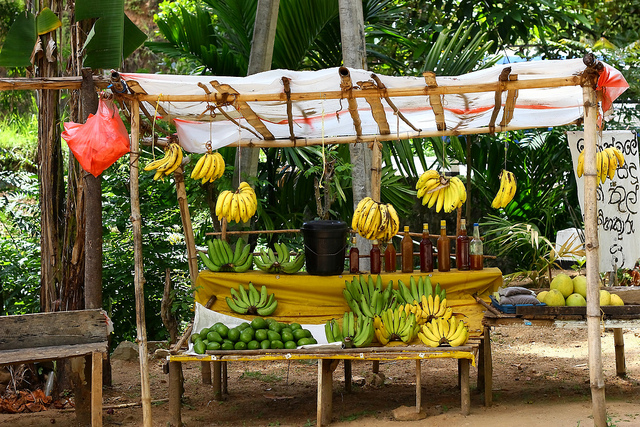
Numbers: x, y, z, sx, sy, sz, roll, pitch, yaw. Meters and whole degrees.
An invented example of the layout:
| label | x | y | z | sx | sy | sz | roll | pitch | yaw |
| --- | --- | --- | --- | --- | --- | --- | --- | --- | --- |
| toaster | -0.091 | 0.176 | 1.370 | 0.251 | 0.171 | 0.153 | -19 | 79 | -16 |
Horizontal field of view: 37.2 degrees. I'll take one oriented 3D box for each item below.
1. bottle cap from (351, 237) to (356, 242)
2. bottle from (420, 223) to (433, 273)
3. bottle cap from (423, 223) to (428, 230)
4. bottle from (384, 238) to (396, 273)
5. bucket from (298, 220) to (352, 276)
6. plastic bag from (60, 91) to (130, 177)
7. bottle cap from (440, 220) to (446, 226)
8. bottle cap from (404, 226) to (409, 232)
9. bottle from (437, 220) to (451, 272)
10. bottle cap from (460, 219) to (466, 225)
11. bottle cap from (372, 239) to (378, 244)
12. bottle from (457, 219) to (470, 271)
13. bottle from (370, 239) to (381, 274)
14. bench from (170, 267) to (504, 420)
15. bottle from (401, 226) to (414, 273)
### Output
| label | x | y | z | sx | sy | sz | roll | pitch | yaw |
| --- | --- | --- | --- | --- | --- | --- | --- | --- | --- |
| bottle cap | 0.427 | 0.324 | 12.360 | 0.042 | 0.051 | 0.045 | 0 | -2 | 20 |
| bottle | 1.374 | 0.425 | 12.367 | 0.163 | 0.624 | 0.313 | -1 | 9 | 6 |
| bottle cap | 1.351 | 0.156 | 12.277 | 0.063 | 0.074 | 0.067 | 1 | 2 | 28 |
| bottle | 0.908 | 0.522 | 12.411 | 0.143 | 0.466 | 0.333 | -1 | 9 | 4 |
| bucket | 0.041 | 0.435 | 12.346 | 0.526 | 0.736 | 0.888 | 1 | -3 | -3 |
| plastic bag | -2.729 | -1.037 | 11.696 | 0.625 | 1.169 | 0.850 | -8 | -3 | -38 |
| bottle cap | 1.569 | 0.110 | 12.175 | 0.067 | 0.056 | 0.066 | 1 | -1 | -45 |
| bottle cap | 1.099 | 0.184 | 12.176 | 0.056 | 0.057 | 0.060 | 0 | 5 | 7 |
| bottle | 1.605 | 0.394 | 12.335 | 0.170 | 0.676 | 0.345 | 0 | 9 | 7 |
| bottle cap | 1.828 | 0.098 | 12.194 | 0.053 | 0.063 | 0.057 | 0 | 4 | 10 |
| bottle cap | 0.705 | 0.356 | 12.363 | 0.047 | 0.054 | 0.048 | 1 | -2 | -24 |
| bottle | 1.859 | 0.380 | 12.348 | 0.154 | 0.685 | 0.344 | 0 | 9 | 9 |
| bottle | 0.709 | 0.537 | 12.368 | 0.141 | 0.431 | 0.294 | -1 | 9 | 3 |
| bench | 0.259 | 1.625 | 11.991 | 3.847 | 1.612 | 1.164 | -1 | 9 | 1 |
| bottle | 1.126 | 0.438 | 12.340 | 0.163 | 0.620 | 0.365 | -1 | 9 | 5 |
